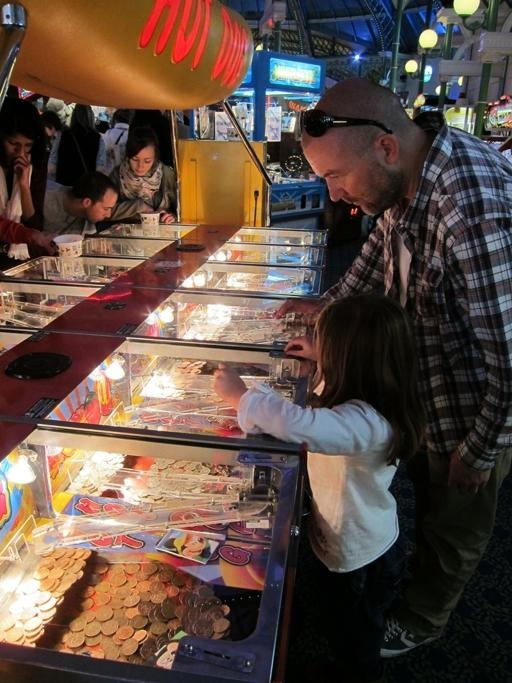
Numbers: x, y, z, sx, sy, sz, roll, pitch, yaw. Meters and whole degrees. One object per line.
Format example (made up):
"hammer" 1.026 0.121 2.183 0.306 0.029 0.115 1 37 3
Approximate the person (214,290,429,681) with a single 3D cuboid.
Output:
"person" 0.141 0.411 1.062 0.433 1.017 0.286 -3 22 -5

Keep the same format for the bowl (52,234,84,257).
"bowl" -0.773 -0.406 1.978 0.112 0.065 0.101 0 22 -1

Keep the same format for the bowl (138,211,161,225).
"bowl" -0.606 -0.713 2.733 0.090 0.051 0.086 0 21 0
